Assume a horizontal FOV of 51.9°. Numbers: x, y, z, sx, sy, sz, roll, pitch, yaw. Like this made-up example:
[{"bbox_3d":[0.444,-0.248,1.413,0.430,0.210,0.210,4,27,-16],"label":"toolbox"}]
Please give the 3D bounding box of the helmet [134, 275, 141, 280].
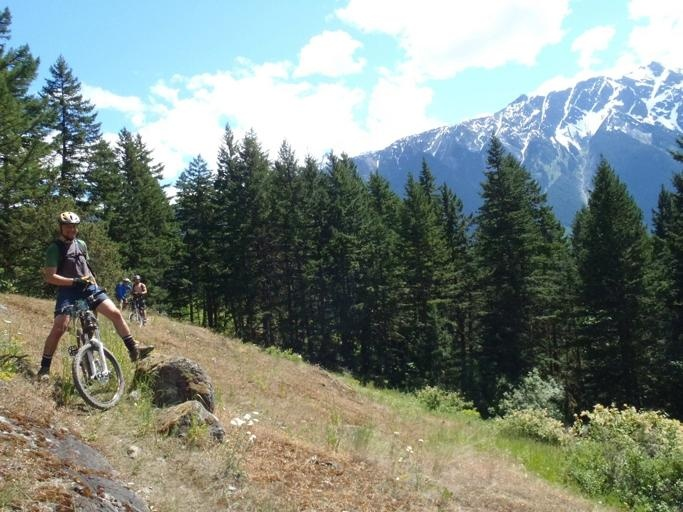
[{"bbox_3d":[-13.148,1.361,45.101,0.304,0.455,0.420,0,-6,-18],"label":"helmet"}]
